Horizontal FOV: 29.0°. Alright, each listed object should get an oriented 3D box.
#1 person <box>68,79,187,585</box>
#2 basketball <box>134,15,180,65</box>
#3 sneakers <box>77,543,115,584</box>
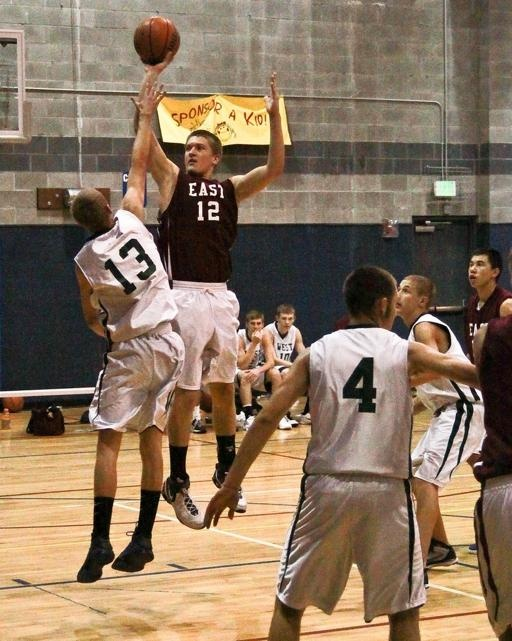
[{"bbox_3d":[-0.541,-0.029,3.994,0.522,2.052,0.352,-1,1,-36],"label":"person"},{"bbox_3d":[-0.440,-1.223,4.373,0.188,0.247,0.200,0,1,-6],"label":"basketball"},{"bbox_3d":[-0.606,0.922,3.811,0.116,0.161,0.183,0,1,8],"label":"sneakers"}]
